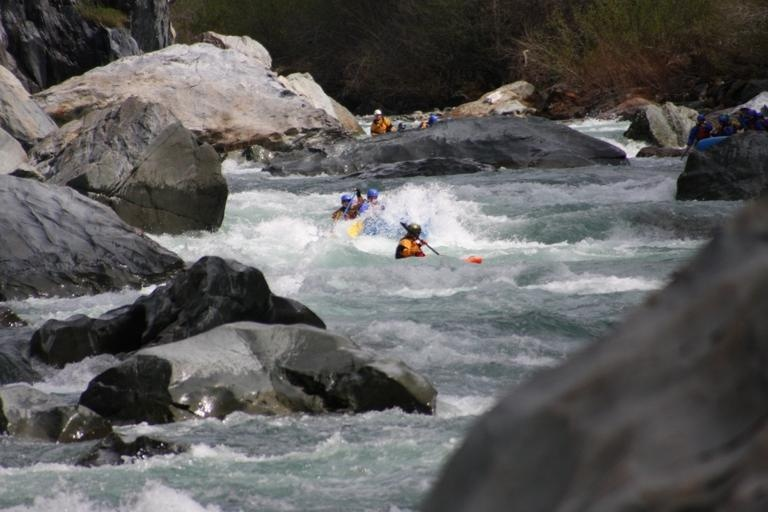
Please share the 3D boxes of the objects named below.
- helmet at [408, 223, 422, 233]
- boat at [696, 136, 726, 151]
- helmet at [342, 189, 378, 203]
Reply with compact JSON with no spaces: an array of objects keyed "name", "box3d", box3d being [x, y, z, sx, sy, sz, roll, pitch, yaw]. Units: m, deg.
[{"name":"helmet","box3d":[0.780,-0.758,31.811,0.289,0.152,0.269,12,-1,-19]},{"name":"boat","box3d":[9.944,-3.510,36.137,0.871,0.339,0.893,-9,-4,-24]},{"name":"helmet","box3d":[-0.666,-1.786,34.680,0.748,0.247,0.508,-1,6,-5]}]
